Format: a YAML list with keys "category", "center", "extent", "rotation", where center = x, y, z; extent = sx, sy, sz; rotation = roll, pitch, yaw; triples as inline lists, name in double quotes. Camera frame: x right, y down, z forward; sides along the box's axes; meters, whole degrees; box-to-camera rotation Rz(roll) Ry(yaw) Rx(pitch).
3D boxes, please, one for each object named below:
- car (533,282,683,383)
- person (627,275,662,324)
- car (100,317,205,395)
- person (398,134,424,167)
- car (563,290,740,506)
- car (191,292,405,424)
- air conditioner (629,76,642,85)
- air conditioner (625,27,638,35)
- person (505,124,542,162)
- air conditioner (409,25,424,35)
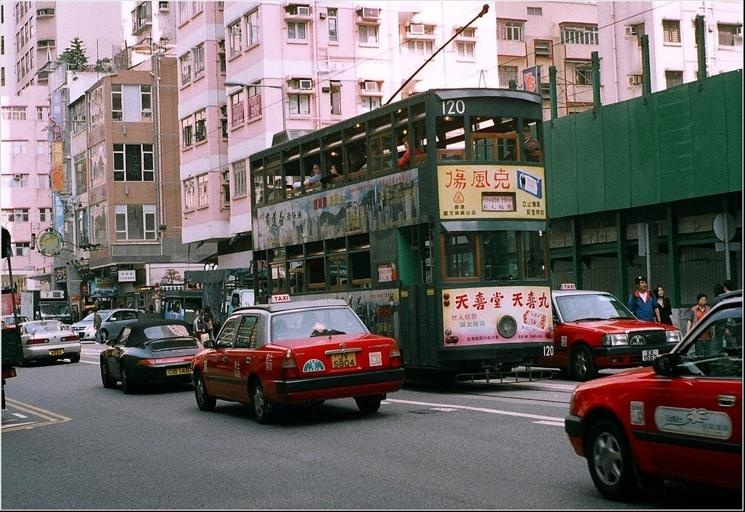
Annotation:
- category: "car"
  center: [5.147, 1.670, 18.264]
  extent: [1.694, 1.262, 2.938]
  rotation: [1, -6, -31]
- category: "person"
  center: [6.599, 1.096, 19.468]
  extent: [0.688, 1.212, 0.410]
  rotation: [-8, 20, 11]
- category: "car"
  center: [-5.721, 2.615, 20.476]
  extent: [1.648, 1.166, 3.052]
  rotation: [-1, 3, -26]
- category: "person"
  center: [0.833, -2.224, 17.132]
  extent: [0.206, 0.683, 0.810]
  rotation: [-2, -1, -31]
- category: "car"
  center: [3.333, 1.593, 8.785]
  extent: [1.249, 1.325, 2.292]
  rotation: [2, -2, -32]
- category: "car"
  center: [-1.601, 1.870, 14.283]
  extent: [3.815, 2.010, 1.736]
  rotation: [-3, -1, 33]
- category: "air conditioner"
  center: [13.410, -8.948, 40.641]
  extent: [0.366, 0.498, 0.686]
  rotation: [0, -2, -12]
- category: "air conditioner"
  center: [13.075, -11.331, 40.217]
  extent: [0.504, 0.387, 0.509]
  rotation: [3, 6, 16]
- category: "person"
  center: [3.244, -2.444, 17.373]
  extent: [0.834, 0.798, 0.595]
  rotation: [-4, 7, -18]
- category: "air conditioner"
  center: [2.681, -13.524, 47.708]
  extent: [0.658, 0.692, 0.184]
  rotation: [-3, 3, -21]
